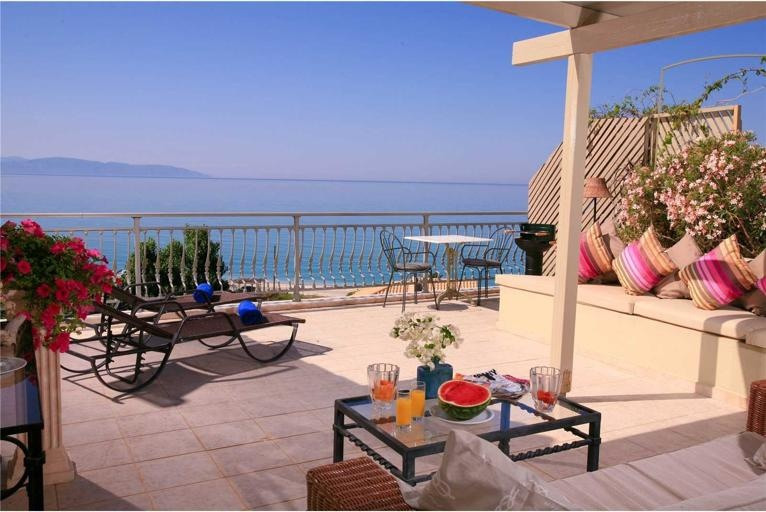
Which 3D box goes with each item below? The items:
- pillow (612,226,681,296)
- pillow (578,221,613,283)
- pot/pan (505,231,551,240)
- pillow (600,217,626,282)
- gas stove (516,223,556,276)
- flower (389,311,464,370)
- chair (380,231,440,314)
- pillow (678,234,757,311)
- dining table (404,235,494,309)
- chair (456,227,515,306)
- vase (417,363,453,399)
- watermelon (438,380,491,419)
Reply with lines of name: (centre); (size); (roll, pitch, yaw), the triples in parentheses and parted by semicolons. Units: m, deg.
pillow: (2.515, 0.094, 5.159); (0.225, 0.568, 0.613); (9, -44, -22)
pillow: (2.249, -0.008, 5.633); (0.342, 0.604, 0.334); (3, -35, -8)
pot/pan: (2.033, -0.326, 7.727); (0.180, 0.080, 0.821); (-5, 6, -21)
pillow: (2.473, -0.126, 5.768); (0.192, 0.565, 0.573); (-4, -32, 23)
gas stove: (2.117, -0.113, 7.797); (0.686, 0.867, 0.730); (1, 2, 16)
flower: (0.263, 0.511, 3.216); (0.409, 0.317, 0.207); (-3, 7, 2)
chair: (0.326, 0.153, 7.427); (0.718, 1.066, 1.368); (-4, 6, 1)
pillow: (2.897, 0.129, 4.650); (0.209, 0.574, 0.644); (20, -41, -24)
dining table: (0.936, 0.155, 7.656); (1.251, 1.005, 1.150); (-5, 16, -22)
chair: (1.512, 0.032, 7.993); (0.707, 1.373, 0.751); (-1, 4, -43)
vase: (0.296, 0.732, 3.082); (0.232, 0.167, 0.115); (0, 3, -14)
watermelon: (0.439, 0.782, 2.906); (0.229, 0.081, 0.189); (-2, 22, 1)
